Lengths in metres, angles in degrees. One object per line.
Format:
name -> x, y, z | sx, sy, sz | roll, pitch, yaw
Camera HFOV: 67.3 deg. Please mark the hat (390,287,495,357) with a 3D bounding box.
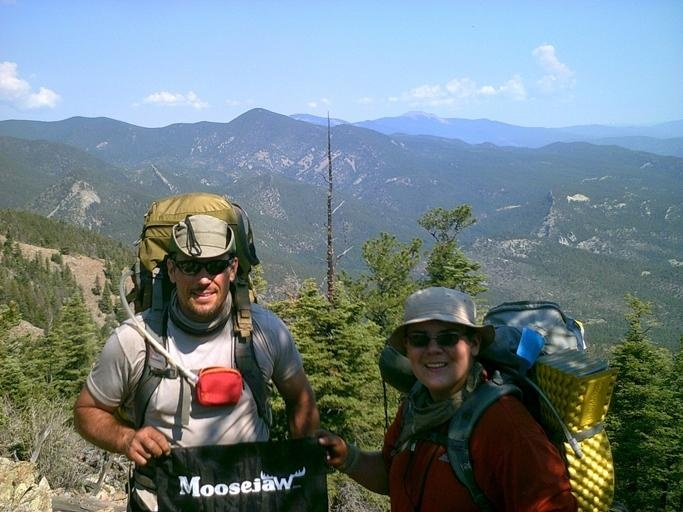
hat -> 0.724, 0.428, 3.939 | 0.551, 0.284, 0.524 | 17, -31, -25
